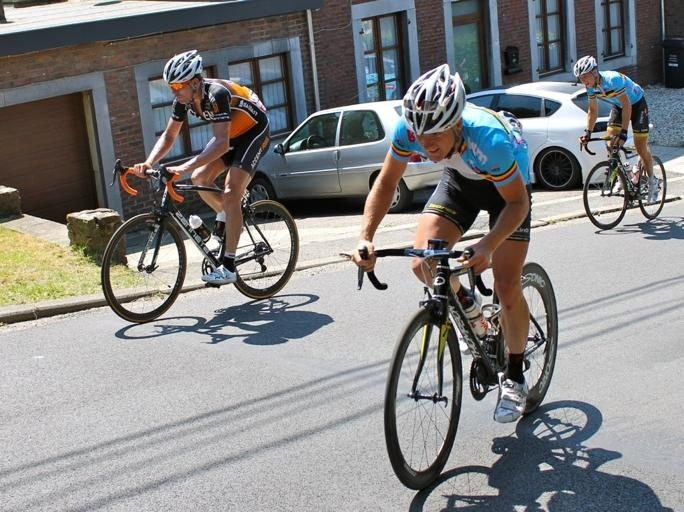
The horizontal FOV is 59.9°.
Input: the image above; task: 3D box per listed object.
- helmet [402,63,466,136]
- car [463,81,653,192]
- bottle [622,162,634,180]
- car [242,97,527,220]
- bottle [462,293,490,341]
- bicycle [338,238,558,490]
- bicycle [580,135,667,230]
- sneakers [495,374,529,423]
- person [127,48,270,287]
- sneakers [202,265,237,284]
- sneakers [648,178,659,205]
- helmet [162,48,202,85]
[{"bbox_3d":[0.498,-0.849,3.143,0.309,0.240,0.447,-2,37,31],"label":"helmet"},{"bbox_3d":[4.338,-2.579,12.644,3.990,1.552,1.885,8,16,29],"label":"car"},{"bbox_3d":[4.535,-1.340,9.419,0.091,0.298,0.120,-5,-20,1],"label":"bottle"},{"bbox_3d":[0.106,-2.190,12.981,3.872,2.014,2.352,4,10,30],"label":"car"},{"bbox_3d":[0.833,0.358,3.708,0.114,0.261,0.360,-12,19,5],"label":"bottle"},{"bbox_3d":[0.863,0.532,3.692,0.809,1.324,2.190,1,7,40],"label":"bicycle"},{"bbox_3d":[4.629,-1.246,9.507,2.032,1.343,0.738,-12,14,-30],"label":"bicycle"},{"bbox_3d":[1.041,0.868,3.679,0.158,0.185,0.500,-7,13,29],"label":"sneakers"},{"bbox_3d":[-1.381,-0.892,6.673,1.360,2.761,1.054,-8,13,-17],"label":"person"},{"bbox_3d":[-1.332,0.193,6.482,0.361,0.166,0.166,4,-5,-38],"label":"sneakers"},{"bbox_3d":[4.903,-1.046,9.383,0.145,0.472,0.193,2,12,19],"label":"sneakers"},{"bbox_3d":[-1.658,-1.978,6.335,0.318,0.168,0.454,35,58,24],"label":"helmet"}]
